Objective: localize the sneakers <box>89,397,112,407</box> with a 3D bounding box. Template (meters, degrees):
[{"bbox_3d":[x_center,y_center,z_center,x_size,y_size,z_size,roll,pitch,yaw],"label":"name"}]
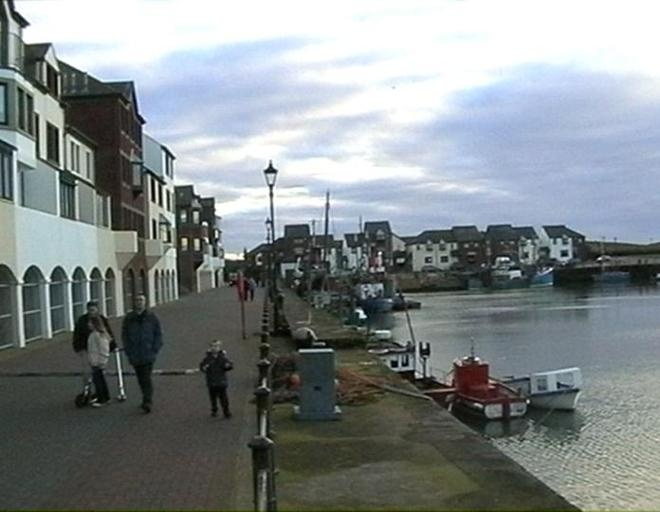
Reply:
[{"bbox_3d":[-5.229,3.276,17.562,0.311,0.110,0.160,17,1,16],"label":"sneakers"}]

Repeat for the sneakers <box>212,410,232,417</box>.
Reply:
[{"bbox_3d":[-2.352,3.388,16.891,0.492,0.115,0.214,2,3,15],"label":"sneakers"}]

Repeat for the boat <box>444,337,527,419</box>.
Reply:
[{"bbox_3d":[5.378,4.477,27.215,2.581,2.087,1.762,2,3,8],"label":"boat"}]

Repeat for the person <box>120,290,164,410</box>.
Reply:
[{"bbox_3d":[-4.157,2.097,17.240,0.821,2.538,0.859,0,4,-24],"label":"person"}]

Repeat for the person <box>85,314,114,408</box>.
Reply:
[{"bbox_3d":[-5.160,2.314,17.397,0.525,2.065,0.623,1,3,-14],"label":"person"}]

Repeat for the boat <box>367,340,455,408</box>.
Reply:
[{"bbox_3d":[3.211,4.298,30.059,1.930,1.228,3.108,3,6,-19],"label":"boat"}]

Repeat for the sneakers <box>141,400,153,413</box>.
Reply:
[{"bbox_3d":[-3.992,3.270,16.983,0.290,0.248,0.162,-1,-1,5],"label":"sneakers"}]

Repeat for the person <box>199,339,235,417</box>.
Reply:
[{"bbox_3d":[-2.528,2.643,17.298,0.693,1.559,1.252,1,3,-7],"label":"person"}]

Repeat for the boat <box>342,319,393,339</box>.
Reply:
[{"bbox_3d":[2.013,3.732,40.435,2.429,0.611,2.515,6,0,-35],"label":"boat"}]

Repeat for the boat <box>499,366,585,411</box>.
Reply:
[{"bbox_3d":[7.812,4.835,28.814,1.504,1.002,2.775,-1,-3,-33],"label":"boat"}]
